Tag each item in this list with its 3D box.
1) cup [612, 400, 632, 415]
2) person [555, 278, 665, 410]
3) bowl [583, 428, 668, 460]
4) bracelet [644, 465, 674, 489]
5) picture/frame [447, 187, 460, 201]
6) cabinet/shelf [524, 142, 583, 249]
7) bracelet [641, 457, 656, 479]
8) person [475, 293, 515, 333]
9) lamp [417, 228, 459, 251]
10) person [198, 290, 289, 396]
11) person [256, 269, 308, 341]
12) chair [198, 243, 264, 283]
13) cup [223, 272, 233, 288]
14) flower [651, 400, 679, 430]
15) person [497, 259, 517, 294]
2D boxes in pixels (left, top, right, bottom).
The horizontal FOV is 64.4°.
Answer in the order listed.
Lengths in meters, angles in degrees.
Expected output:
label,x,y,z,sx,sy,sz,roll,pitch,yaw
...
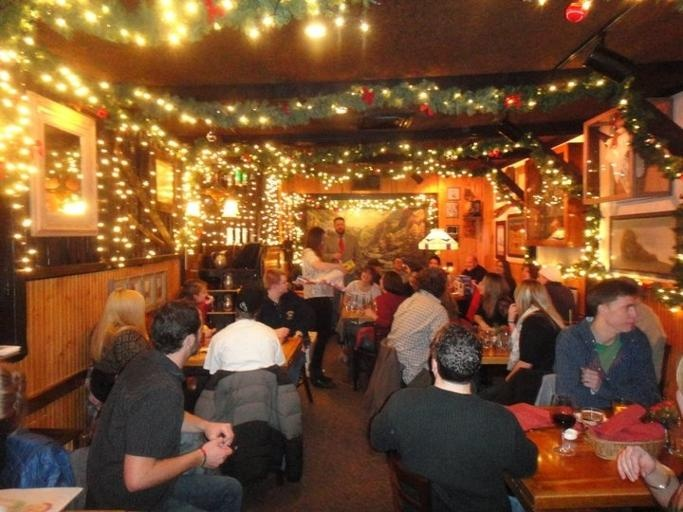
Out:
label,x,y,z,sx,sy,sz,roll,pitch,yaw
cup,1.807,0.969,3.510,0.094,0.093,0.096,1,-4,0
person,1.921,0.646,3.967,0.748,0.911,0.611,1,6,2
bowl,1.645,1.127,3.222,0.293,0.075,0.275,0,-6,0
bracelet,1.647,1.143,2.819,0.120,0.144,0.080,-13,36,15
picture/frame,2.407,-1.328,11.592,0.314,0.264,0.030,5,5,5
cabinet/shelf,2.883,-0.815,7.296,0.523,1.425,1.646,0,1,2
bracelet,1.591,1.090,2.813,0.082,0.093,0.040,21,-3,-10
person,1.824,0.661,6.422,0.452,0.653,0.515,3,-5,-3
lamp,1.808,-0.267,10.310,0.617,0.249,0.524,0,9,-5
person,-0.697,0.657,4.675,1.042,0.837,0.672,0,7,0
person,-0.706,0.597,6.275,0.643,0.840,0.608,0,17,12
chair,-1.522,0.117,7.497,0.697,0.388,0.629,-1,1,-6
cup,-1.523,0.326,7.290,0.130,0.196,0.229,-3,11,-12
flower,1.969,0.975,3.357,0.178,0.158,0.165,3,-13,5
person,2.600,0.320,8.492,0.275,0.197,0.680,-8,44,-1
